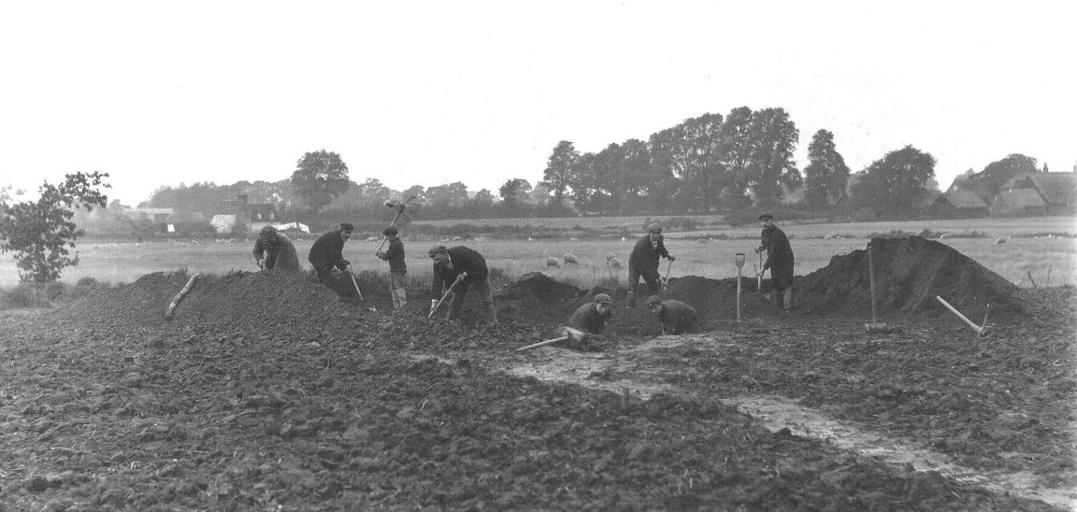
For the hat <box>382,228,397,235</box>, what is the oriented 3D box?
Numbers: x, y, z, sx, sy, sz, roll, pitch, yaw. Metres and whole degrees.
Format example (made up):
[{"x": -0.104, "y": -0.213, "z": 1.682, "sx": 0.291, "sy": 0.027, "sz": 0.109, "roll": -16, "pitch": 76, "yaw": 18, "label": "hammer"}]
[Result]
[{"x": -5.028, "y": -0.860, "z": 45.912, "sx": 0.354, "sy": 0.288, "sz": 0.402, "roll": -2, "pitch": 4, "yaw": 3, "label": "hat"}]

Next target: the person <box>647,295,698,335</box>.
[{"x": 4.437, "y": 2.024, "z": 43.904, "sx": 2.136, "sy": 1.214, "sz": 0.794, "roll": 9, "pitch": -12, "yaw": -33, "label": "person"}]

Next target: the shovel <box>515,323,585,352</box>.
[{"x": 0.555, "y": 2.610, "z": 42.116, "sx": 1.653, "sy": 0.441, "sz": 0.884, "roll": -9, "pitch": 11, "yaw": -26, "label": "shovel"}]

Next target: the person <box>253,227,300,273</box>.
[{"x": -9.040, "y": -0.287, "z": 46.546, "sx": 1.444, "sy": 1.558, "sz": 1.196, "roll": -3, "pitch": 4, "yaw": -12, "label": "person"}]

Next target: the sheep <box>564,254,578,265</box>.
[{"x": 1.292, "y": 0.104, "z": 54.120, "sx": 0.579, "sy": 0.361, "sz": 0.710, "roll": -2, "pitch": 4, "yaw": 0, "label": "sheep"}]

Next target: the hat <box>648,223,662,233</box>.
[{"x": 3.943, "y": -0.978, "z": 45.785, "sx": 0.499, "sy": 0.245, "sz": 0.669, "roll": -1, "pitch": -2, "yaw": -4, "label": "hat"}]

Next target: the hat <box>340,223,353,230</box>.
[{"x": -6.534, "y": -1.029, "z": 46.274, "sx": 0.309, "sy": 0.144, "sz": 0.252, "roll": -1, "pitch": 4, "yaw": -22, "label": "hat"}]

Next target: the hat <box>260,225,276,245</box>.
[{"x": -9.257, "y": -0.758, "z": 46.398, "sx": 0.578, "sy": 0.586, "sz": 0.245, "roll": -4, "pitch": 5, "yaw": -24, "label": "hat"}]

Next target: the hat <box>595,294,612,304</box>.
[{"x": 2.047, "y": 1.342, "z": 43.192, "sx": 0.461, "sy": 0.307, "sz": 0.819, "roll": -2, "pitch": 4, "yaw": -2, "label": "hat"}]
